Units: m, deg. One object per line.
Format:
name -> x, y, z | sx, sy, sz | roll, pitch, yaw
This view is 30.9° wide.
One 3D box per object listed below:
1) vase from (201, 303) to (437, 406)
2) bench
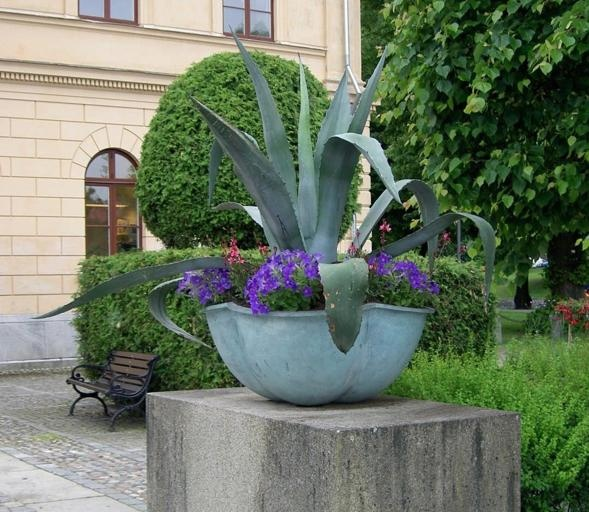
vase -> 0.154, 0.700, 7.222 | 1.374, 0.558, 1.101 | 0, -6, -38
bench -> -2.138, 1.540, 12.385 | 0.595, 0.809, 1.432 | 2, -1, -29
